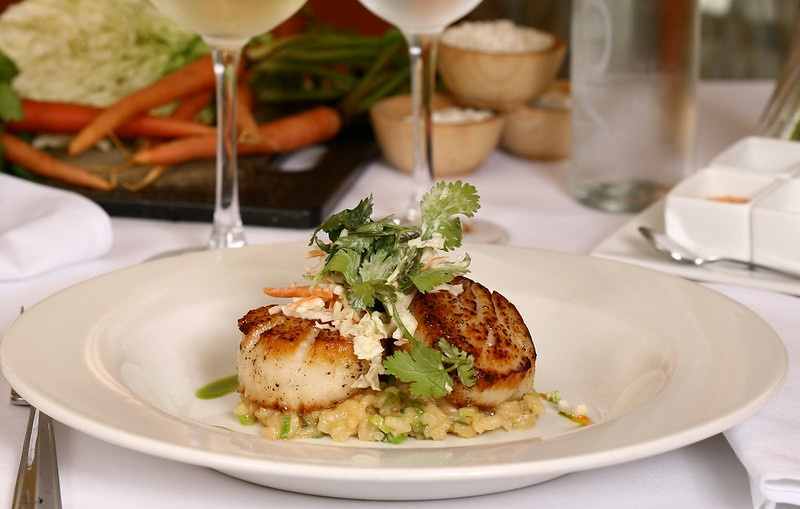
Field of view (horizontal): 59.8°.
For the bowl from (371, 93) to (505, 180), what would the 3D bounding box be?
[{"bbox_3d":[0.102,-0.355,2.154,0.310,0.151,0.317,0,19,0],"label":"bowl"}]
